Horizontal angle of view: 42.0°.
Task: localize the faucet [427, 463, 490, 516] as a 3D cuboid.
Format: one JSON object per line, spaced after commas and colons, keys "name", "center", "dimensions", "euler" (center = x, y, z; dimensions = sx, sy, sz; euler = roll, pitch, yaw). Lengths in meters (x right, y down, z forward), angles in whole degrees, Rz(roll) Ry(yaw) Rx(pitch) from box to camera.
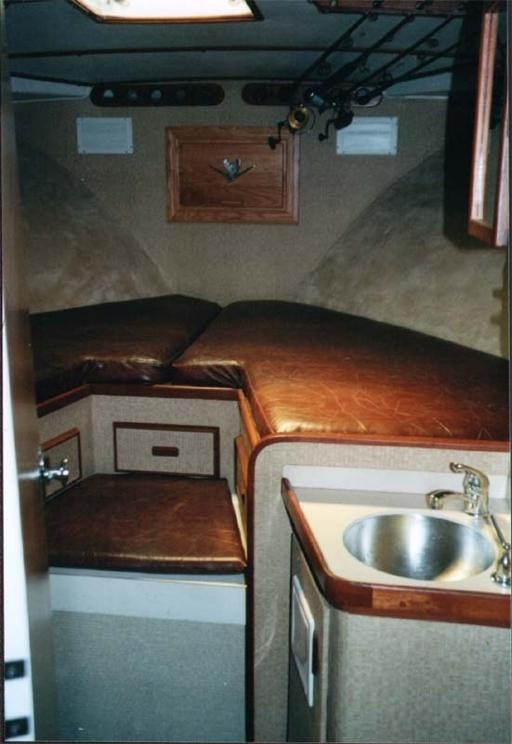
{"name": "faucet", "center": [0.278, 0.167, 0.913], "dimensions": [0.070, 0.080, 0.156], "euler": [-1, 2, 21]}
